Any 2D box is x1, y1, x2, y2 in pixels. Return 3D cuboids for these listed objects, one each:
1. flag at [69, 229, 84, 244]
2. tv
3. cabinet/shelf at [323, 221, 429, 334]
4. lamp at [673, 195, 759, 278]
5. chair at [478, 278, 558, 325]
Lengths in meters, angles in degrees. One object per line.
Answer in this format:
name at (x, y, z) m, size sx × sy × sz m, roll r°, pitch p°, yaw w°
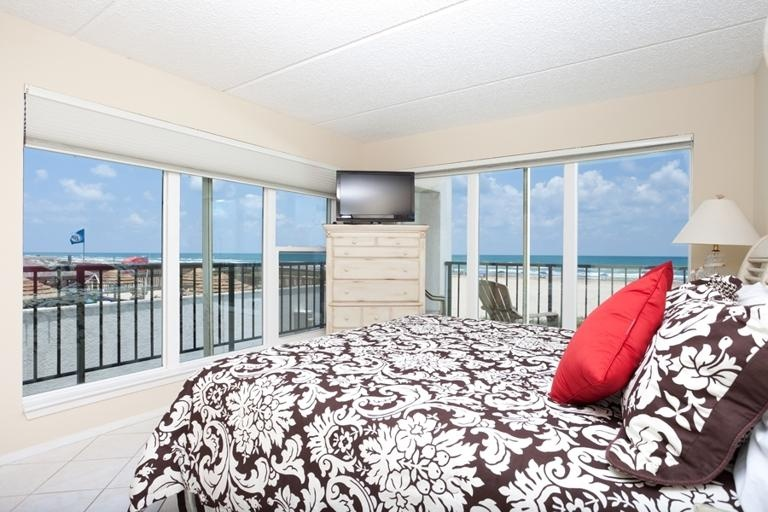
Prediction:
flag at (-2.457, -0.163, 3.777) m, size 0.014 × 0.148 × 0.125 m, roll 9°, pitch 1°, yaw 24°
tv at (-0.115, -0.649, 5.174) m, size 0.686 × 0.387 × 0.061 m, roll 0°, pitch 2°, yaw -1°
cabinet/shelf at (-0.098, 0.221, 4.815) m, size 1.346 × 1.264 × 0.530 m, roll 0°, pitch -2°, yaw -2°
lamp at (2.648, -0.057, 3.802) m, size 0.668 × 0.818 × 0.646 m, roll 4°, pitch 1°, yaw 25°
chair at (1.433, 0.492, 5.081) m, size 0.665 × 0.511 × 0.429 m, roll 0°, pitch -2°, yaw -13°
